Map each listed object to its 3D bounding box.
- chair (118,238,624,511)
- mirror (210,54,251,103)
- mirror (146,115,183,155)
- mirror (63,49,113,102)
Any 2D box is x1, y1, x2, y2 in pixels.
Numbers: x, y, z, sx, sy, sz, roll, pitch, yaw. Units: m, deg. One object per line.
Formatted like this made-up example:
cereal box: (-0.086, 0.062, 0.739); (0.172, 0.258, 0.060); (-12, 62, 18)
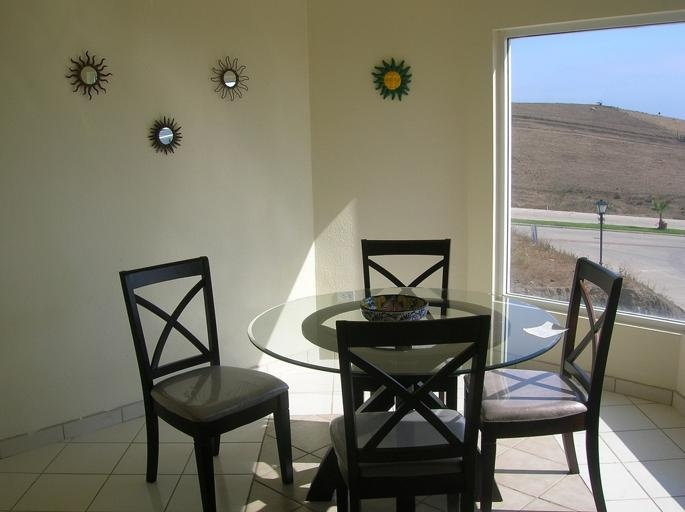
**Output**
chair: (0.322, 0.735, 2.905); (2.179, 1.298, 0.994); (-3, 14, -13)
mirror: (-0.840, -1.304, 4.126); (0.060, 0.304, 0.297); (13, 19, 43)
mirror: (-1.253, -0.838, 3.872); (0.013, 0.241, 0.218); (15, -19, 50)
mirror: (-1.646, -1.151, 3.560); (0.257, 0.288, 0.014); (39, -12, -31)
